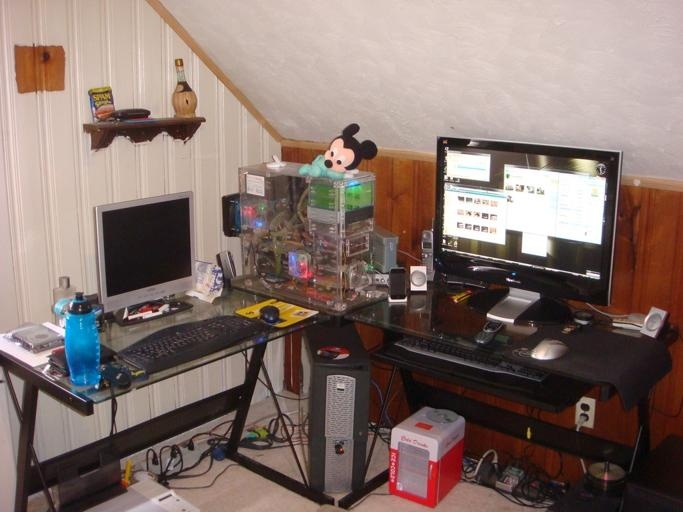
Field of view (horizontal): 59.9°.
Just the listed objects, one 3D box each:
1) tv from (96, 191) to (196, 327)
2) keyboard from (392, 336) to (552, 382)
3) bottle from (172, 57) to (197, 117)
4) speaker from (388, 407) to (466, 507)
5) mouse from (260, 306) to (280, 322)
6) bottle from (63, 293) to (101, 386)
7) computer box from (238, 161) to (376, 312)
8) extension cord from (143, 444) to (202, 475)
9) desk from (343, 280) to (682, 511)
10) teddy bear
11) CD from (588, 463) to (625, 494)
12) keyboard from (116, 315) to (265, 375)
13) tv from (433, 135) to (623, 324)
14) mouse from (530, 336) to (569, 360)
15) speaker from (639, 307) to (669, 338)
[{"bbox_3d":[-0.877,0.023,2.648,0.513,0.591,0.201,-13,21,-43],"label":"tv"},{"bbox_3d":[0.524,0.426,2.470,0.477,0.071,0.142,10,30,37],"label":"keyboard"},{"bbox_3d":[-0.822,-0.864,3.052,0.122,0.286,0.088,2,12,8],"label":"bottle"},{"bbox_3d":[0.408,0.963,3.026,0.316,0.423,0.446,7,13,30],"label":"speaker"},{"bbox_3d":[-0.318,0.257,2.635,0.068,0.046,0.068,19,22,37],"label":"mouse"},{"bbox_3d":[-0.941,0.317,2.131,0.119,0.305,0.125,0,12,0],"label":"bottle"},{"bbox_3d":[-0.150,-0.096,2.892,0.629,0.586,0.360,11,18,34],"label":"computer box"},{"bbox_3d":[-0.888,1.077,3.140,0.182,0.042,0.182,-10,18,-43],"label":"extension cord"},{"bbox_3d":[0.740,0.593,2.667,1.248,0.713,0.676,8,15,32],"label":"desk"},{"bbox_3d":[-0.014,-0.503,2.819,0.374,0.252,0.173,-1,12,-5],"label":"teddy bear"},{"bbox_3d":[1.151,0.949,2.571,0.126,0.085,0.124,4,20,18],"label":"CD"},{"bbox_3d":[-0.614,0.347,2.465,0.582,0.085,0.282,-11,16,-42],"label":"keyboard"},{"bbox_3d":[0.821,-0.115,2.703,0.827,0.774,0.451,12,24,38],"label":"tv"},{"bbox_3d":[0.812,0.362,2.315,0.127,0.056,0.123,7,14,29],"label":"mouse"},{"bbox_3d":[1.312,0.270,2.478,0.080,0.108,0.123,12,17,43],"label":"speaker"}]
